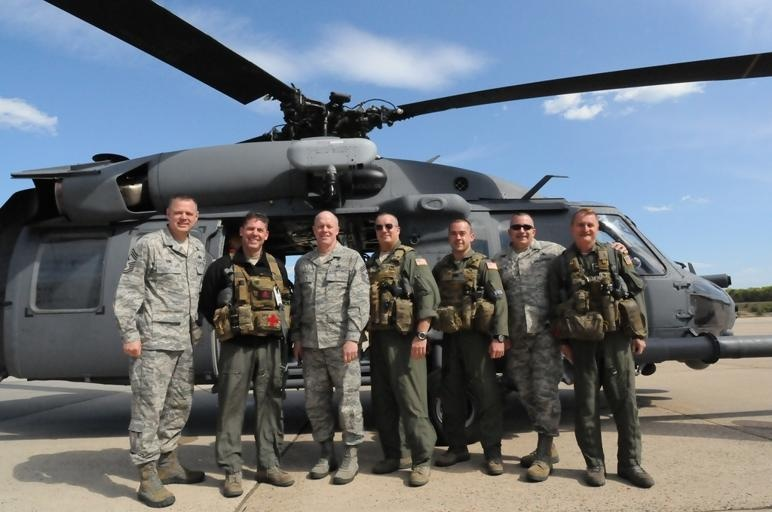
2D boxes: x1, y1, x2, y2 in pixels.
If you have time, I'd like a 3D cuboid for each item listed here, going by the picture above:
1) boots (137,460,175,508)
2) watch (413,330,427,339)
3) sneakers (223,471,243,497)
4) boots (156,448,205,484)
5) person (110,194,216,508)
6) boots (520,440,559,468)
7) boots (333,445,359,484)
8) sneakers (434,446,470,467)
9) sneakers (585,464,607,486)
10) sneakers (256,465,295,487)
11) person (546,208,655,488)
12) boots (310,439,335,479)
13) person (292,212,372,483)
[{"bbox_3d":[-2.353,2.311,6.347,0.407,0.411,0.201,0,3,30],"label":"boots"},{"bbox_3d":[0.370,0.837,6.677,0.108,0.058,0.095,-6,-1,-32],"label":"watch"},{"bbox_3d":[-1.613,2.346,6.500,0.211,0.241,0.274,-2,2,-13],"label":"sneakers"},{"bbox_3d":[-2.294,2.297,6.782,0.587,0.356,0.190,14,-30,-41],"label":"boots"},{"bbox_3d":[-2.318,1.118,6.488,0.880,2.781,0.520,-3,3,-25],"label":"person"},{"bbox_3d":[1.811,2.208,6.964,0.608,0.219,0.201,5,-13,-41],"label":"boots"},{"bbox_3d":[-0.422,2.200,6.678,0.209,0.360,0.551,3,2,14],"label":"boots"},{"bbox_3d":[0.686,2.234,6.975,0.486,0.158,0.164,-1,-2,-15],"label":"sneakers"},{"bbox_3d":[2.189,2.273,6.476,0.223,0.181,0.155,-1,2,6],"label":"sneakers"},{"bbox_3d":[-1.178,2.319,6.594,0.484,0.265,0.159,1,-5,-2],"label":"sneakers"},{"bbox_3d":[2.261,0.924,6.596,0.984,2.877,0.544,-1,2,14],"label":"person"},{"bbox_3d":[-0.679,2.208,6.765,0.116,0.228,0.287,-3,8,43],"label":"boots"},{"bbox_3d":[-0.615,0.947,6.744,0.875,2.877,0.531,-2,2,10],"label":"person"}]
